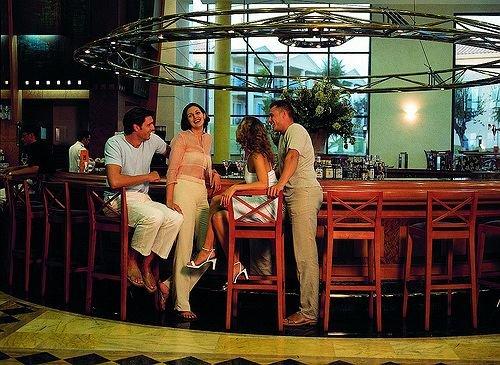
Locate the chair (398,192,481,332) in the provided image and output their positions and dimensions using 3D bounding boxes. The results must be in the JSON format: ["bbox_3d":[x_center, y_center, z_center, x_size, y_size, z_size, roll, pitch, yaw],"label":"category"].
[{"bbox_3d":[2.235,0.861,6.669,0.825,1.525,1.140,1,2,22],"label":"chair"}]

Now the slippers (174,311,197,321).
[{"bbox_3d":[-0.733,1.519,6.413,0.189,0.080,0.107,-2,2,10],"label":"slippers"}]

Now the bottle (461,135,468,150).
[{"bbox_3d":[6.408,-1.197,16.999,0.249,0.452,0.050,0,2,-13],"label":"bottle"}]

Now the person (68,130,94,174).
[{"bbox_3d":[-2.669,-0.515,8.954,0.324,0.705,2.456,0,2,-17],"label":"person"}]

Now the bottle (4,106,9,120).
[{"bbox_3d":[-5.426,-1.558,12.687,0.130,0.281,0.200,-1,2,-43],"label":"bottle"}]

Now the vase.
[{"bbox_3d":[1.130,-0.969,8.416,1.076,1.083,1.045,-4,1,-19],"label":"vase"}]

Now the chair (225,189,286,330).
[{"bbox_3d":[0.073,0.839,6.439,0.669,1.533,0.853,1,2,3],"label":"chair"}]

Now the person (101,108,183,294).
[{"bbox_3d":[-1.230,0.206,6.506,0.827,2.108,0.512,0,2,-16],"label":"person"}]

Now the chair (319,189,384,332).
[{"bbox_3d":[1.178,0.855,6.551,0.685,1.535,1.077,1,2,12],"label":"chair"}]

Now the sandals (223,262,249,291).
[{"bbox_3d":[-0.157,0.994,6.344,0.270,0.136,0.089,5,-37,-33],"label":"sandals"}]

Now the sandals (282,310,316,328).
[{"bbox_3d":[0.537,1.540,6.317,0.332,0.134,0.164,2,-6,-6],"label":"sandals"}]

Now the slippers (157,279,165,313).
[{"bbox_3d":[-1.000,1.307,6.579,0.104,0.310,0.100,1,3,24],"label":"slippers"}]

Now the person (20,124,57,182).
[{"bbox_3d":[-3.010,-0.458,8.250,0.397,0.767,1.101,-1,2,-35],"label":"person"}]

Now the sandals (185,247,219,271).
[{"bbox_3d":[-0.544,0.875,6.466,0.391,0.263,0.168,2,-1,-4],"label":"sandals"}]
